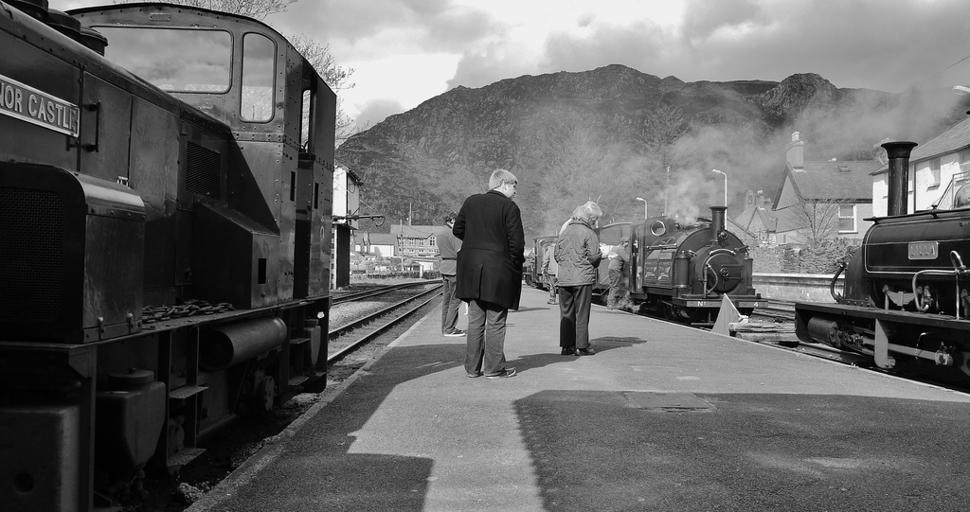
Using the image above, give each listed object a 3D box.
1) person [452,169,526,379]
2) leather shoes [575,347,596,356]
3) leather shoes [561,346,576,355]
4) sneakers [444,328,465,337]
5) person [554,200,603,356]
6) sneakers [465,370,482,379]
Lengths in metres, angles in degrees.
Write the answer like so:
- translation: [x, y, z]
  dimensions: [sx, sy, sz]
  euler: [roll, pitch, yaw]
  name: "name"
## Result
- translation: [0.065, 0.266, 10.139]
  dimensions: [1.048, 3.119, 0.621]
  euler: [-1, 6, -4]
  name: "person"
- translation: [1.825, 1.725, 12.105]
  dimensions: [0.295, 0.125, 0.145]
  euler: [-3, 2, -17]
  name: "leather shoes"
- translation: [1.497, 1.694, 12.053]
  dimensions: [0.135, 0.123, 0.190]
  euler: [1, -5, -8]
  name: "leather shoes"
- translation: [-0.663, 1.677, 14.735]
  dimensions: [0.413, 0.178, 0.191]
  euler: [-2, -4, 2]
  name: "sneakers"
- translation: [1.684, 0.399, 12.232]
  dimensions: [0.721, 2.698, 0.877]
  euler: [2, 7, 22]
  name: "person"
- translation: [-0.165, 1.808, 10.233]
  dimensions: [0.248, 0.112, 0.089]
  euler: [11, -12, -42]
  name: "sneakers"
